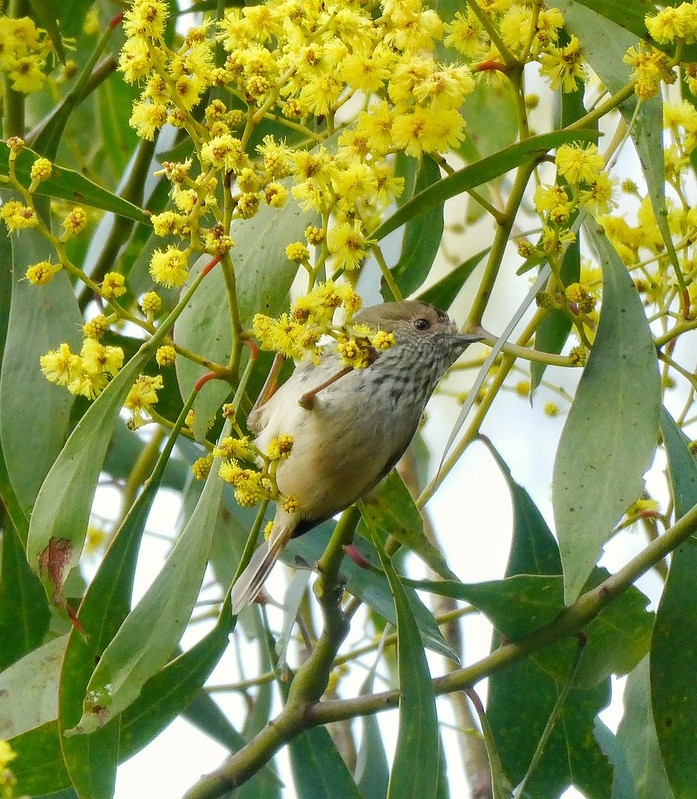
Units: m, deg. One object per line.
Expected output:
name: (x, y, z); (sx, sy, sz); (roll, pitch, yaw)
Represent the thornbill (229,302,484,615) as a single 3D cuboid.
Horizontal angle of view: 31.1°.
thornbill: (-0.009, 0.077, 1.701); (0.138, 0.180, 0.452); (37, -99, -30)
